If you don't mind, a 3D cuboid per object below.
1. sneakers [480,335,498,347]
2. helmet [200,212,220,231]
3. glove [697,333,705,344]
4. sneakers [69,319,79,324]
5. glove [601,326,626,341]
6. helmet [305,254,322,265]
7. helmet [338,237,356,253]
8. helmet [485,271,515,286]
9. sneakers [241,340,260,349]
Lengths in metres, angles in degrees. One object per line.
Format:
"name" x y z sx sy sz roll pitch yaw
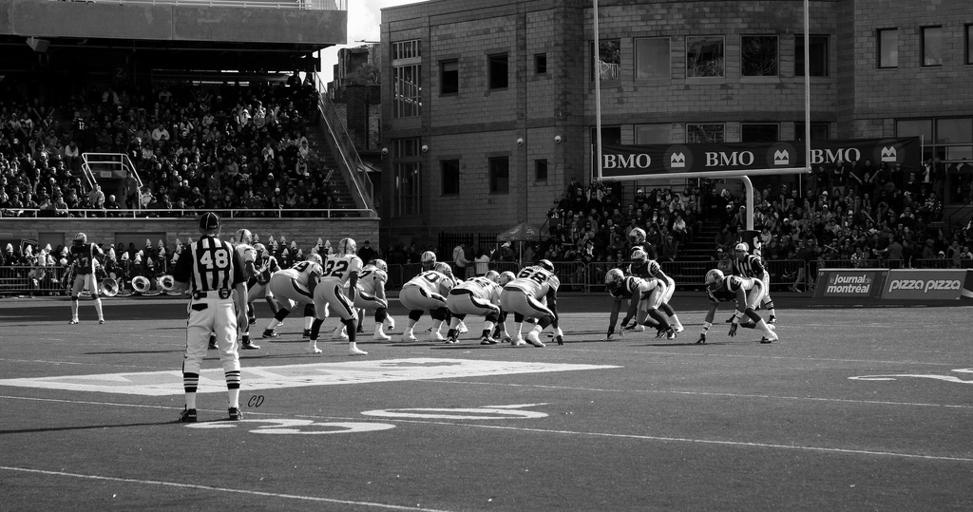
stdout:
"sneakers" 0.087 2.668 44.989 0.693 0.239 0.227 -1 14 -16
"helmet" -6.978 -0.896 35.558 0.433 0.428 0.575 -2 4 -12
"glove" 6.823 2.570 44.737 0.164 0.290 0.417 10 38 5
"sneakers" -14.534 2.290 49.771 0.202 0.152 0.411 1 -7 -16
"glove" 4.183 2.547 46.594 0.331 0.367 0.990 5 10 24
"helmet" -5.640 0.109 46.334 0.460 0.410 0.342 -16 41 17
"helmet" -4.298 -0.363 43.559 0.532 0.479 0.484 2 -4 -5
"helmet" 0.442 0.704 46.050 0.763 0.394 0.500 1 2 -8
"sneakers" -7.379 2.710 43.633 0.755 0.260 0.240 1 5 -9
